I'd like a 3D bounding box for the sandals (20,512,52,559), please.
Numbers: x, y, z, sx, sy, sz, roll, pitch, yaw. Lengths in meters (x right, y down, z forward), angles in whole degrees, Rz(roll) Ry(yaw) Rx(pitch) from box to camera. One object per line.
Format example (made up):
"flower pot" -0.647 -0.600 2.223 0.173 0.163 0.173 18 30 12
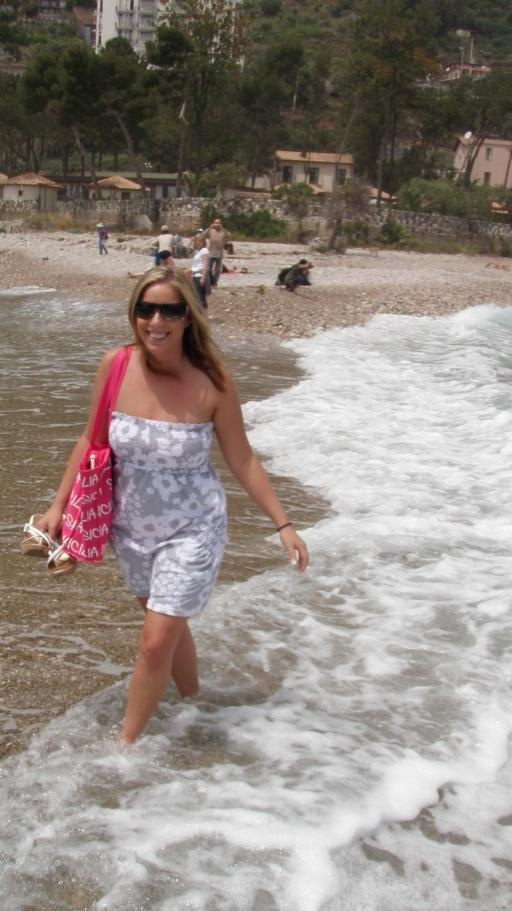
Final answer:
"sandals" -0.732 0.259 2.885 0.120 0.063 0.185 7 41 -16

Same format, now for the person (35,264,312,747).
"person" -0.246 0.221 2.839 1.029 1.550 0.762 4 10 6

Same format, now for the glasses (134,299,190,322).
"glasses" -0.294 -0.447 2.681 0.154 0.065 0.067 5 10 -11

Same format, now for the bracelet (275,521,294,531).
"bracelet" 0.091 0.230 2.874 0.048 0.012 0.036 -28 0 21
